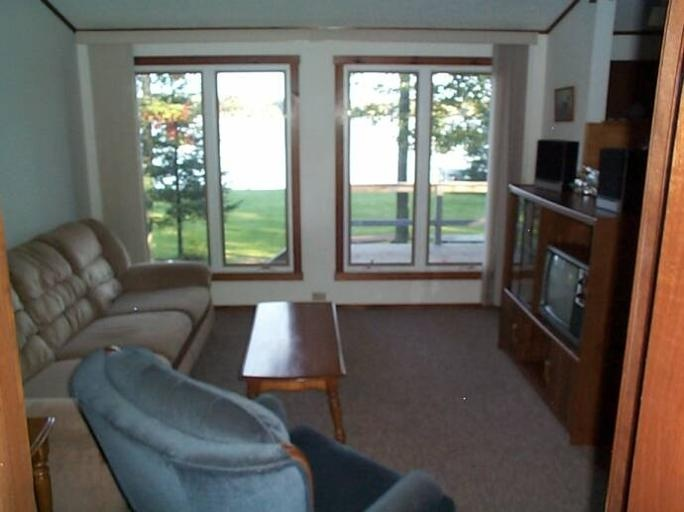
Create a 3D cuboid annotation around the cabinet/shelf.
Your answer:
[{"bbox_3d":[1.320,0.459,3.247,0.458,1.386,1.438,1,12,4],"label":"cabinet/shelf"}]

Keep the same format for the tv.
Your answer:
[{"bbox_3d":[1.355,0.239,3.298,0.306,0.499,0.567,2,11,0],"label":"tv"}]

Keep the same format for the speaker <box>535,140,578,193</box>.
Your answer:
[{"bbox_3d":[1.601,-0.657,4.029,0.134,0.376,0.378,-2,12,-5],"label":"speaker"}]

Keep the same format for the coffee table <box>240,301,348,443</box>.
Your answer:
[{"bbox_3d":[-0.315,0.631,3.480,0.617,0.315,1.276,2,14,-5],"label":"coffee table"}]

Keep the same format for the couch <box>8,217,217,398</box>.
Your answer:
[{"bbox_3d":[-1.525,0.306,3.617,0.935,0.893,1.814,0,16,-1],"label":"couch"}]
